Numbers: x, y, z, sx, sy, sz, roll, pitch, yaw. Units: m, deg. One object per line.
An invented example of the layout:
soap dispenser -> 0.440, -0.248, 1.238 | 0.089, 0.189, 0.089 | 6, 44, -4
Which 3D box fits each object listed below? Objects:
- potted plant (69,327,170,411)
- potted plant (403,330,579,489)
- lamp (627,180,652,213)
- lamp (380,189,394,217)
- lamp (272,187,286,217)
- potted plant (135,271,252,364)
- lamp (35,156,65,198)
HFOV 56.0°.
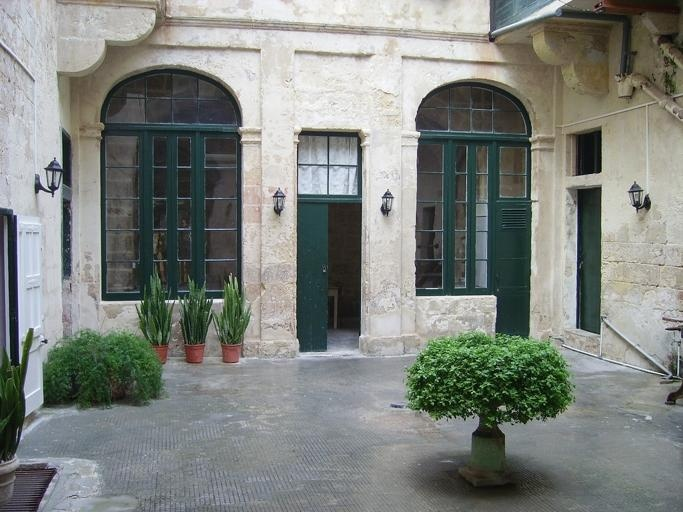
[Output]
potted plant -> -2.693, 1.393, 8.066 | 0.800, 0.701, 0.744 | 32, -14, -23
potted plant -> 1.330, 1.396, 6.154 | 1.347, 1.446, 1.235 | 18, -16, -27
lamp -> 4.363, -0.880, 9.604 | 0.352, 0.604, 0.278 | 0, 4, 13
lamp -> 0.740, -0.871, 10.377 | 0.229, 0.423, 0.181 | 0, 5, -7
lamp -> -0.974, -0.856, 10.083 | 0.206, 0.433, 0.252 | -1, 6, -10
potted plant -> -2.299, 0.998, 9.891 | 1.213, 1.183, 0.431 | 0, 1, -14
lamp -> -3.504, -0.949, 7.702 | 0.303, 0.449, 0.207 | 3, 1, 3
